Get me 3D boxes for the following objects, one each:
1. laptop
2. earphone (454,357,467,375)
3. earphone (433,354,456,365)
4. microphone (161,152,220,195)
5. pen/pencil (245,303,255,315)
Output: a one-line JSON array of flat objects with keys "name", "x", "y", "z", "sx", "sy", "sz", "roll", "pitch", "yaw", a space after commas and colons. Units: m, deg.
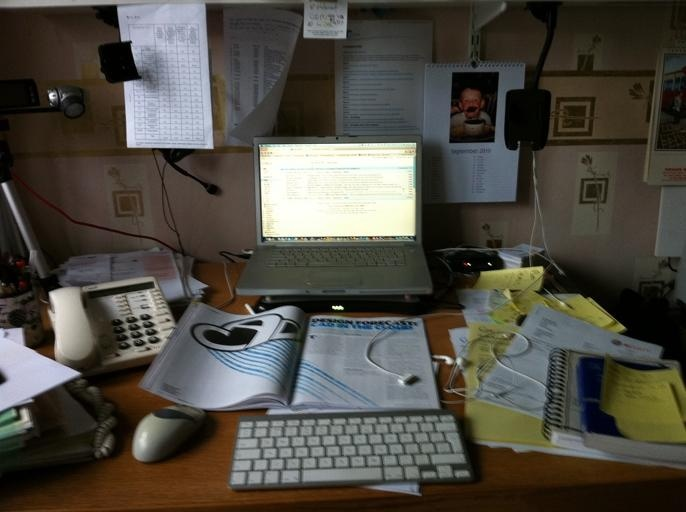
[{"name": "laptop", "x": -0.012, "y": -0.162, "z": 1.223, "sx": 0.533, "sy": 0.351, "sz": 0.360, "roll": 0, "pitch": 21, "yaw": 0}, {"name": "earphone", "x": 0.219, "y": 0.204, "z": 0.986, "sx": 0.018, "sy": 0.009, "sz": 0.024, "roll": -1, "pitch": 31, "yaw": 13}, {"name": "earphone", "x": 0.193, "y": 0.197, "z": 1.011, "sx": 0.030, "sy": 0.007, "sz": 0.018, "roll": 2, "pitch": 27, "yaw": 31}, {"name": "microphone", "x": -0.395, "y": -0.222, "z": 1.394, "sx": 0.125, "sy": 0.097, "sz": 0.045, "roll": 35, "pitch": 62, "yaw": 0}, {"name": "pen/pencil", "x": -0.209, "y": 0.118, "z": 1.182, "sx": 0.013, "sy": 0.009, "sz": 0.054, "roll": -13, "pitch": 28, "yaw": -14}]
